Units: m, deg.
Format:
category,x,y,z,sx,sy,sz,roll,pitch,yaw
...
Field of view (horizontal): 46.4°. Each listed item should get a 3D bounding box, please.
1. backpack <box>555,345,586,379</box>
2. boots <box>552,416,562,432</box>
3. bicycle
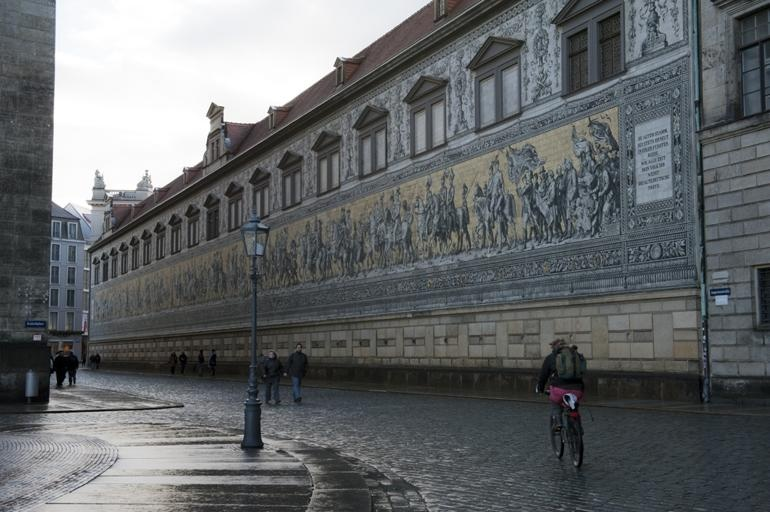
category,x,y,z,sx,sy,sz,roll,pitch,yaw
backpack,3.886,2.236,19.004,0.625,0.717,0.391,6,-16,-16
boots,3.662,3.567,19.159,0.103,0.309,0.205,2,7,-12
bicycle,3.827,3.607,19.071,0.648,1.673,1.588,0,-10,-1
